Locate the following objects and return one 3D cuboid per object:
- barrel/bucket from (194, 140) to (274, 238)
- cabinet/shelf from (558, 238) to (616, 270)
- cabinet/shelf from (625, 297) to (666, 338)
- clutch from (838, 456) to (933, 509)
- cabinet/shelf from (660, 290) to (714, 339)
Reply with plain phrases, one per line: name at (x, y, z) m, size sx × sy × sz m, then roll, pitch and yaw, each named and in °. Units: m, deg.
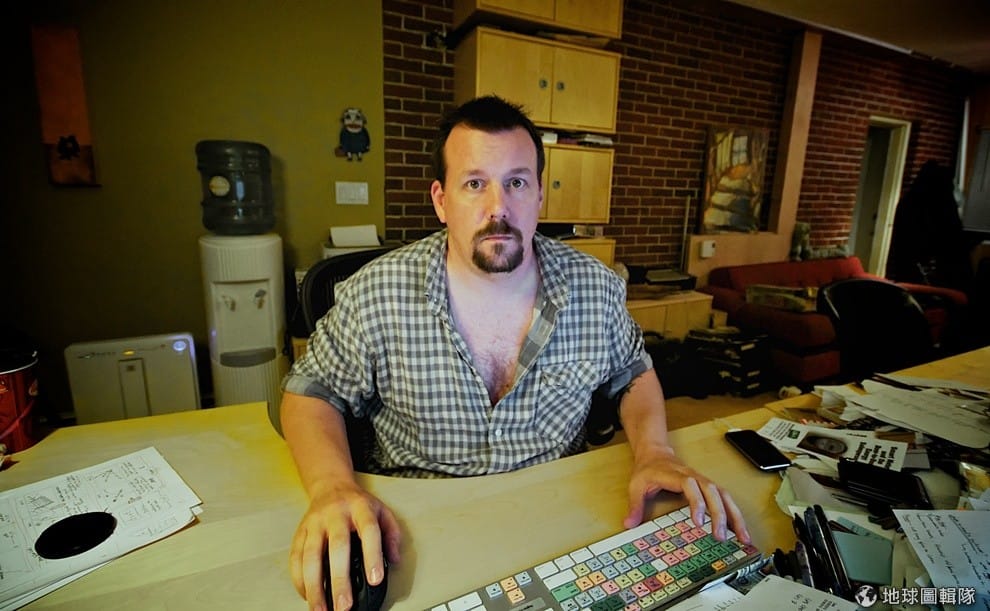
barrel/bucket at (-1.571, -0.720, 3.833) m, size 0.437 × 0.543 × 0.266 m, roll -6°, pitch 15°, yaw -21°
cabinet/shelf at (0.661, -0.417, 4.616) m, size 0.494 × 0.273 × 0.251 m, roll -2°, pitch 14°, yaw -20°
cabinet/shelf at (0.994, 0.076, 4.212) m, size 0.280 × 0.237 × 0.163 m, roll -5°, pitch 12°, yaw -22°
clutch at (1.397, 0.650, 2.299) m, size 0.191 × 0.048 × 0.174 m, roll 8°, pitch 25°, yaw 21°
cabinet/shelf at (1.437, 0.071, 4.826) m, size 0.333 × 0.282 × 0.190 m, roll -4°, pitch 25°, yaw -11°
